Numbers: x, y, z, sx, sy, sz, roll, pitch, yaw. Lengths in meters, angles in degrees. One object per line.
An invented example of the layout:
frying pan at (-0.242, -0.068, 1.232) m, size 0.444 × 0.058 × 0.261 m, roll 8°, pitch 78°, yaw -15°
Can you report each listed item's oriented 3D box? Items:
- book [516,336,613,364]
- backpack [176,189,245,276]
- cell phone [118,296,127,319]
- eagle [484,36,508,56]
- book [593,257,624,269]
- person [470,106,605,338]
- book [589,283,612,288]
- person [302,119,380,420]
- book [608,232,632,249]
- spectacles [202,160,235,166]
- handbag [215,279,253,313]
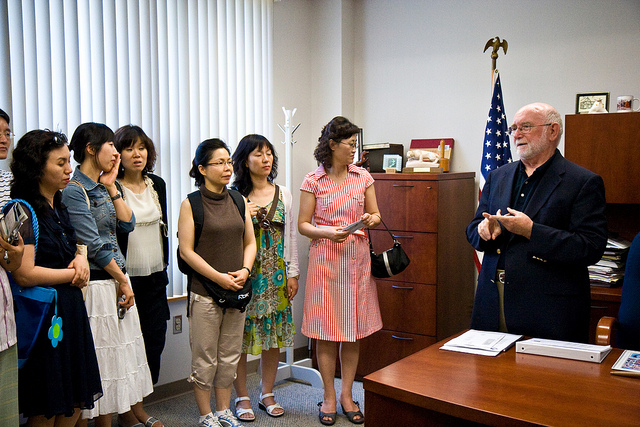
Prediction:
book at (1.321, 0.729, 2.719) m, size 0.442 × 0.076 × 0.343 m, roll -2°, pitch -2°, yaw 38°
backpack at (-0.654, 0.112, 3.448) m, size 0.298 × 0.575 × 0.387 m, roll 8°, pitch -9°, yaw -32°
cell phone at (-1.271, 0.602, 3.231) m, size 0.045 × 0.142 × 0.054 m, roll 2°, pitch 2°, yaw -28°
eagle at (1.492, -1.399, 4.207) m, size 0.249 × 0.167 × 0.137 m, roll -10°, pitch 11°, yaw -39°
book at (2.188, 0.371, 3.770) m, size 0.174 × 0.063 × 0.182 m, roll 0°, pitch 1°, yaw 20°
person at (1.338, 0.044, 3.138) m, size 0.770 × 1.408 × 0.457 m, roll 0°, pitch 9°, yaw 20°
book at (2.104, 0.540, 3.767) m, size 0.157 × 0.040 × 0.165 m, roll 0°, pitch -5°, yaw 25°
person at (0.171, 0.444, 3.842) m, size 0.572 × 2.292 × 0.538 m, roll -2°, pitch 9°, yaw 6°
book at (2.297, 0.218, 3.859) m, size 0.146 × 0.039 × 0.142 m, roll -7°, pitch 23°, yaw -43°
spectacles at (-0.693, -0.348, 3.528) m, size 0.097 × 0.030 × 0.100 m, roll -7°, pitch -2°, yaw 20°
handbag at (-0.591, 0.591, 3.465) m, size 0.248 × 0.258 × 0.145 m, roll -5°, pitch 9°, yaw -14°
